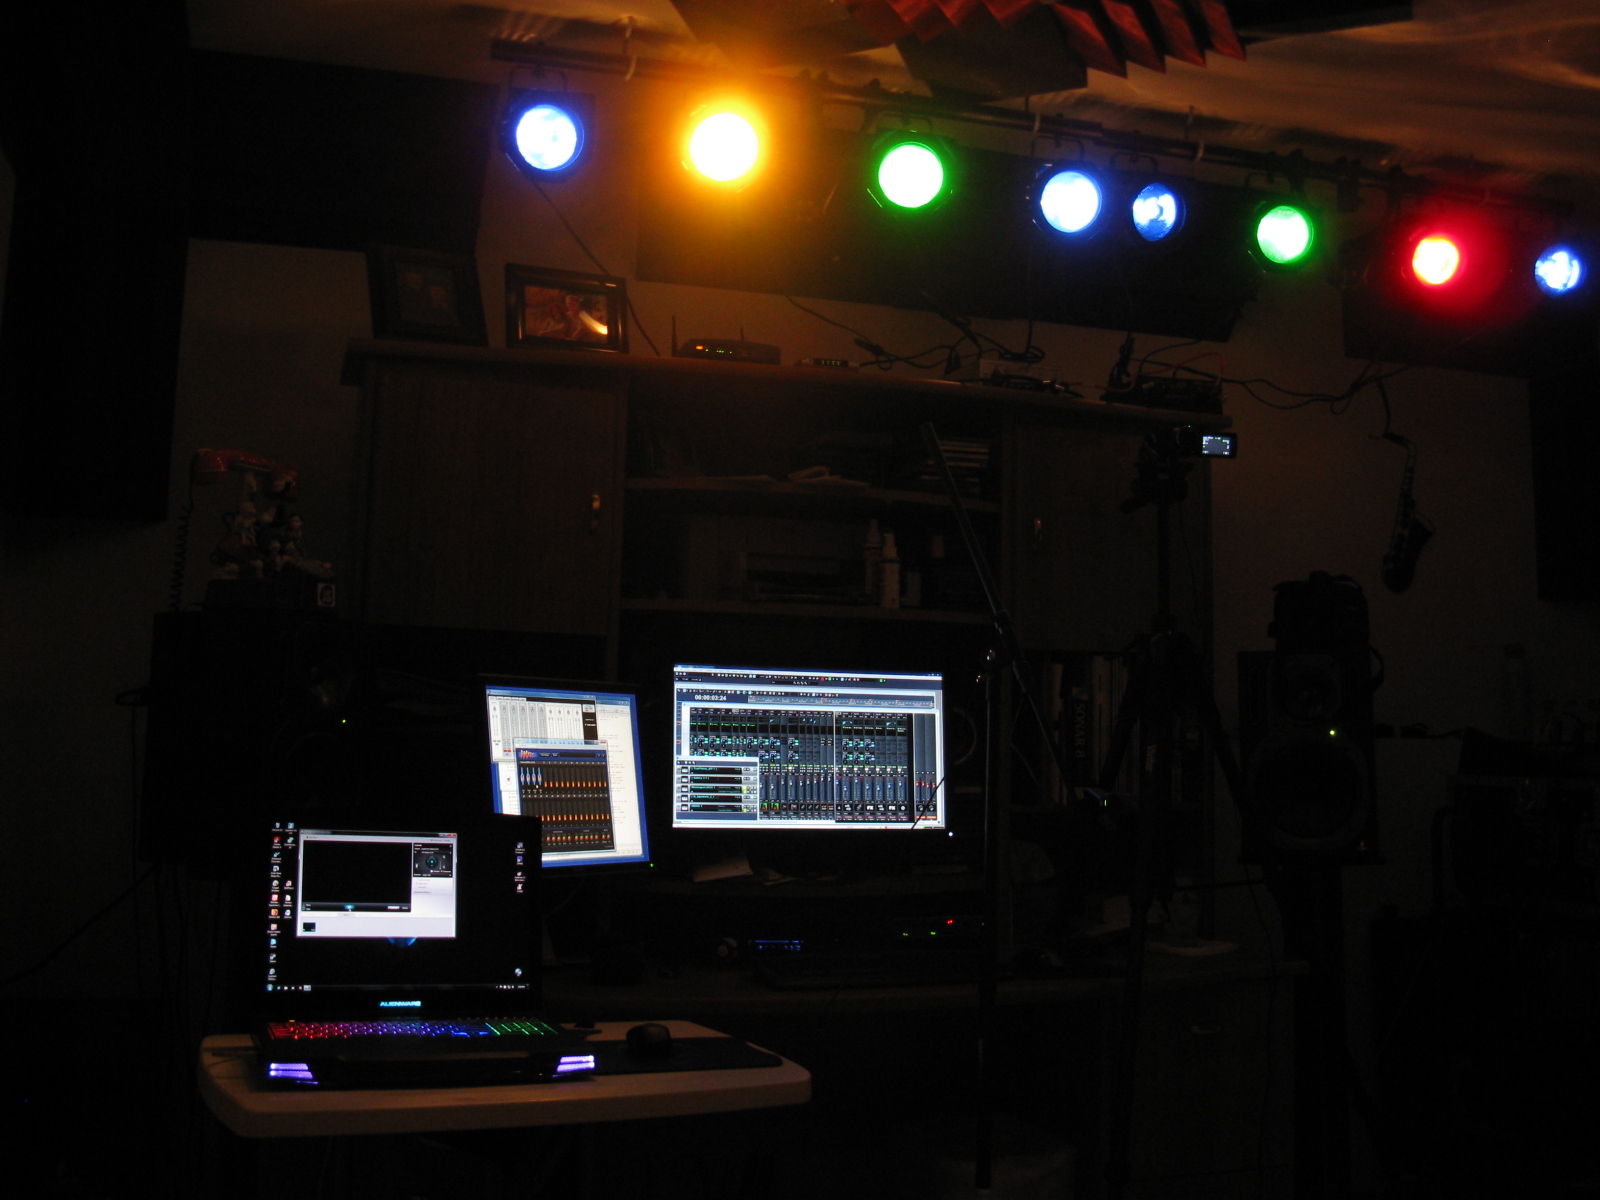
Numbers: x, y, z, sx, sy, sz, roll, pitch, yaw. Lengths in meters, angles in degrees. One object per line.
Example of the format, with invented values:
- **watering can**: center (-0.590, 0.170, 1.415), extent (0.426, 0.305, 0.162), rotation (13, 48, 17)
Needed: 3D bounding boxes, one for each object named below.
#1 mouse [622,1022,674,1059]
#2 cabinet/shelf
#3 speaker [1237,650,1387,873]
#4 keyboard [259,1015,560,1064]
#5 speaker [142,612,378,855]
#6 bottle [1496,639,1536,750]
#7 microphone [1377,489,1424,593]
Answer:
- **mouse**: center (-0.305, 0.885, 3.181), extent (0.096, 0.051, 0.154), rotation (0, -9, 4)
- **cabinet/shelf**: center (-0.020, -0.178, 4.496), extent (2.351, 0.633, 1.581), rotation (3, -48, -5)
- **speaker**: center (1.322, 0.406, 4.066), extent (0.346, 0.530, 0.163), rotation (-1, -9, 8)
- **keyboard**: center (-0.758, 0.840, 3.022), extent (0.570, 0.061, 0.140), rotation (2, -9, -10)
- **speaker**: center (-1.348, 0.310, 3.765), extent (0.463, 0.930, 0.475), rotation (4, -5, -30)
- **bottle**: center (2.484, 0.303, 5.414), extent (0.149, 0.332, 0.044), rotation (5, -10, -26)
- **microphone**: center (2.042, -0.200, 5.264), extent (0.165, 0.340, 0.295), rotation (-3, -9, 23)
